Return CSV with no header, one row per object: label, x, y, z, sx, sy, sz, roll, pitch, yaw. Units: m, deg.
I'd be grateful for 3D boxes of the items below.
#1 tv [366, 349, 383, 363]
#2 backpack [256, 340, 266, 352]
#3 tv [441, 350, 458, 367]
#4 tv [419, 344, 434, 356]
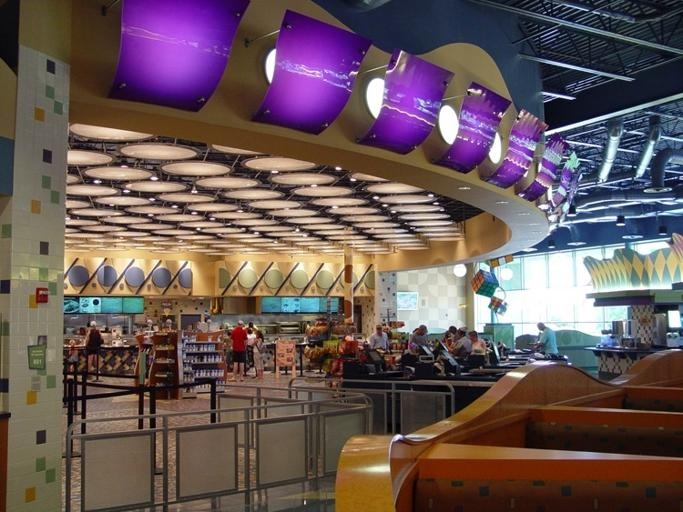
tv,0.689,2.107,11.332,0.326,0.255,0.511,1,-7,-9
backpack,-2.897,3.196,19.153,0.293,0.373,0.386,6,-42,-28
tv,2.068,1.961,10.411,0.288,0.277,0.420,-1,-7,9
tv,1.934,2.192,12.372,0.312,0.086,0.340,2,2,11
